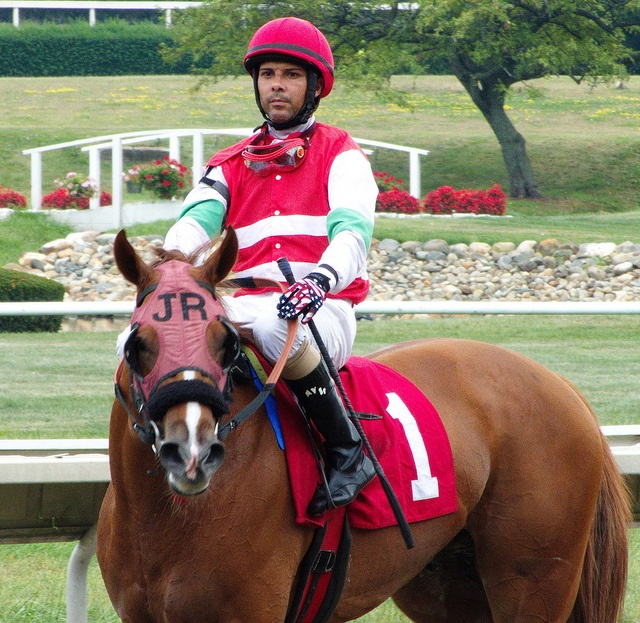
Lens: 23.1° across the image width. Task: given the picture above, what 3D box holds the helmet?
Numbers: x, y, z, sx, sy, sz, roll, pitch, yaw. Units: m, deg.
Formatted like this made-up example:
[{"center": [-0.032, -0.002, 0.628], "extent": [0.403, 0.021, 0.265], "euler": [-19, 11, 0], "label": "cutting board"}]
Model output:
[{"center": [-0.126, -1.496, 9.077], "extent": [0.453, 0.447, 0.591], "euler": [14, 15, 32], "label": "helmet"}]

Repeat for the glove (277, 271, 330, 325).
[{"center": [-0.087, -0.066, 8.653], "extent": [0.316, 0.184, 0.099], "euler": [-42, -9, -18], "label": "glove"}]

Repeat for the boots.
[{"center": [0.066, 0.679, 8.662], "extent": [0.457, 0.833, 0.285], "euler": [-4, 14, -1], "label": "boots"}]
